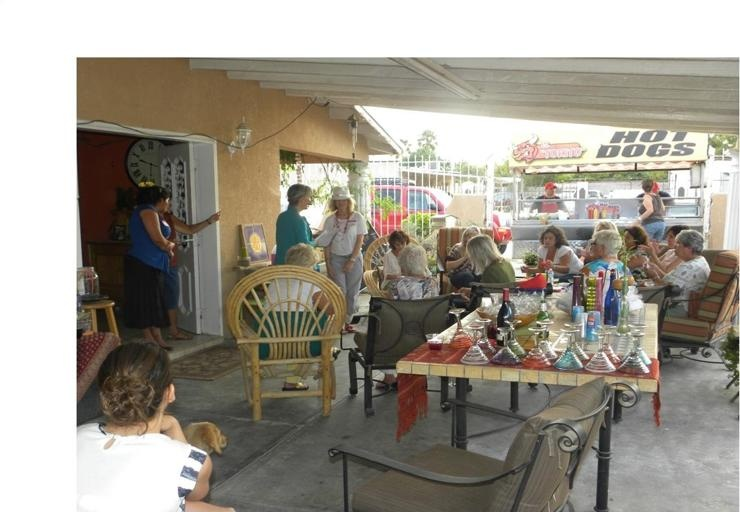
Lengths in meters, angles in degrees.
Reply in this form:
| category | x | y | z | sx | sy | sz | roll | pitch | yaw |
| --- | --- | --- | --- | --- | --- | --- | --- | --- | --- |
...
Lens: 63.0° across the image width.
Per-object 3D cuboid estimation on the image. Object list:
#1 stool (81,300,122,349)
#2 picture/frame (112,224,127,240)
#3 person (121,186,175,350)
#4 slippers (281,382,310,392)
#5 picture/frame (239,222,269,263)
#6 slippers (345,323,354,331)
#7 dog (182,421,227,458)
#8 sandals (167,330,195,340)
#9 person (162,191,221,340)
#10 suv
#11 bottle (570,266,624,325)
| category | x | y | z | sx | sy | sz | roll | pitch | yaw |
| --- | --- | --- | --- | --- | --- | --- | --- | --- | --- |
| stool | -2.349 | 0.584 | 5.275 | 0.316 | 0.577 | 0.309 | 2 | 4 | 40 |
| picture/frame | -3.835 | -0.372 | 9.250 | 0.254 | 0.273 | 0.029 | 1 | 0 | 20 |
| person | -2.467 | 0.062 | 6.799 | 0.691 | 2.177 | 0.702 | 0 | 1 | -41 |
| slippers | -0.657 | 1.153 | 5.326 | 0.172 | 0.055 | 0.124 | -2 | -1 | 1 |
| picture/frame | -1.598 | -0.179 | 8.195 | 0.059 | 0.394 | 0.560 | -16 | 1 | 14 |
| slippers | -0.267 | 0.930 | 7.733 | 0.138 | 0.109 | 0.363 | -1 | -1 | -4 |
| dog | -1.210 | 1.257 | 4.299 | 0.350 | 0.178 | 0.194 | 25 | -7 | 11 |
| sandals | -2.321 | 0.974 | 7.417 | 0.260 | 0.084 | 0.102 | 0 | 10 | -7 |
| person | -2.311 | 0.205 | 7.260 | 0.579 | 1.931 | 0.838 | 1 | 4 | 22 |
| suv | 1.332 | -1.345 | 16.662 | 4.571 | 2.183 | 2.854 | 2 | 7 | 21 |
| bottle | 1.648 | 0.276 | 4.319 | 0.403 | 0.419 | 0.403 | 10 | 13 | 38 |
